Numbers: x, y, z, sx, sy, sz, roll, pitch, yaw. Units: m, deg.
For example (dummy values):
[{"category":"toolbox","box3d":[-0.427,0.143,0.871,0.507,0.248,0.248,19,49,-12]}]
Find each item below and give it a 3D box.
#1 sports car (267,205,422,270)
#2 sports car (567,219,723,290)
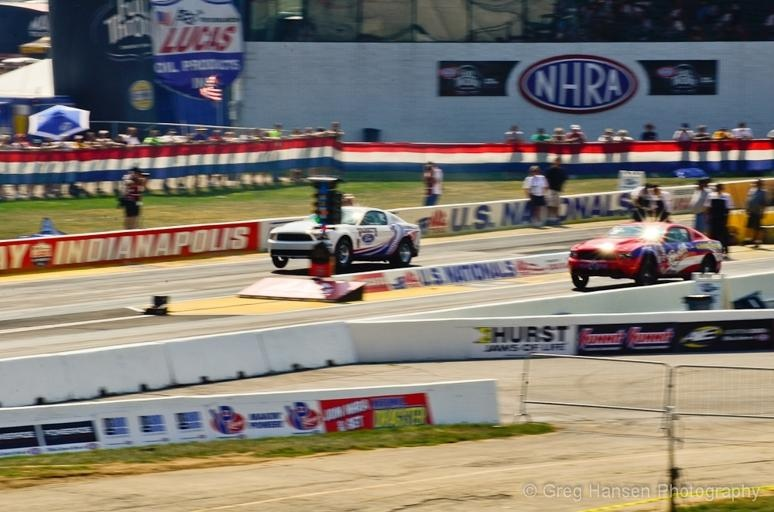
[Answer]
[{"category":"sports car","box3d":[-1.290,-0.562,55.083,4.592,2.108,1.888,-7,11,-33]},{"category":"sports car","box3d":[8.187,-0.117,54.141,2.838,1.419,5.558,3,4,40]}]
